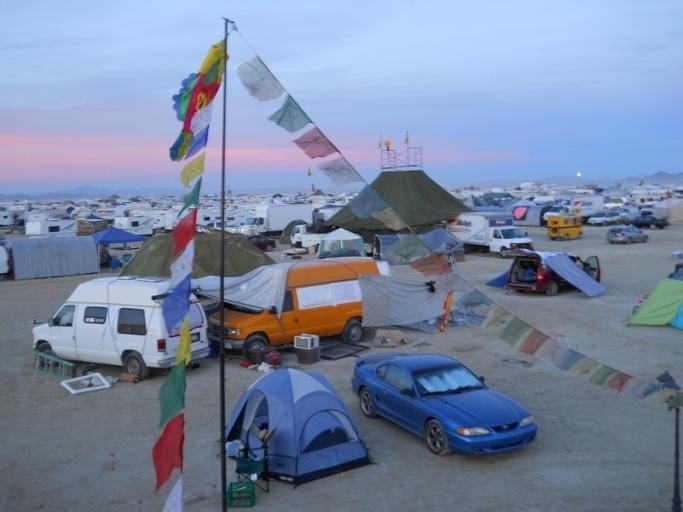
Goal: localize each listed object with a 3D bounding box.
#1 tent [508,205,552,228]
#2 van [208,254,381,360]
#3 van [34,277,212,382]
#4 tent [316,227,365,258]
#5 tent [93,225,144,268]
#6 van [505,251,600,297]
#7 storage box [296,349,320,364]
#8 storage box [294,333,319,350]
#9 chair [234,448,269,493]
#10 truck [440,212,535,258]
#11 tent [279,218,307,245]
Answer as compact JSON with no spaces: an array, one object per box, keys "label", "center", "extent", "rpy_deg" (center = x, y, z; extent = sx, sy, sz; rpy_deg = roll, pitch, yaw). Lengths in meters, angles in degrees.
[{"label":"tent","center":[17.585,-3.739,57.119],"extent":[2.386,1.620,4.013],"rpy_deg":[-5,8,-29]},{"label":"van","center":[-1.322,1.465,17.736],"extent":[4.664,2.449,1.583],"rpy_deg":[-11,17,-36]},{"label":"van","center":[-5.744,1.776,15.529],"extent":[5.733,2.253,1.954],"rpy_deg":[0,0,24]},{"label":"tent","center":[0.091,-0.730,32.668],"extent":[2.066,1.242,1.843],"rpy_deg":[0,3,-13]},{"label":"tent","center":[-13.301,-0.697,34.059],"extent":[3.524,2.116,3.127],"rpy_deg":[-1,7,-2]},{"label":"van","center":[8.554,0.655,24.685],"extent":[3.658,1.788,2.201],"rpy_deg":[2,14,11]},{"label":"storage box","center":[-0.929,2.651,16.634],"extent":[0.483,0.309,0.491],"rpy_deg":[1,2,42]},{"label":"storage box","center":[-0.995,2.295,16.659],"extent":[0.495,0.254,0.462],"rpy_deg":[2,4,31]},{"label":"chair","center":[-1.658,3.781,11.019],"extent":[0.693,0.795,0.509],"rpy_deg":[-2,-23,-10]},{"label":"truck","center":[9.842,-1.336,37.699],"extent":[5.596,2.537,3.916],"rpy_deg":[-3,9,-16]},{"label":"tent","center":[-3.595,-1.972,47.951],"extent":[2.388,1.361,2.162],"rpy_deg":[-3,4,-22]}]
